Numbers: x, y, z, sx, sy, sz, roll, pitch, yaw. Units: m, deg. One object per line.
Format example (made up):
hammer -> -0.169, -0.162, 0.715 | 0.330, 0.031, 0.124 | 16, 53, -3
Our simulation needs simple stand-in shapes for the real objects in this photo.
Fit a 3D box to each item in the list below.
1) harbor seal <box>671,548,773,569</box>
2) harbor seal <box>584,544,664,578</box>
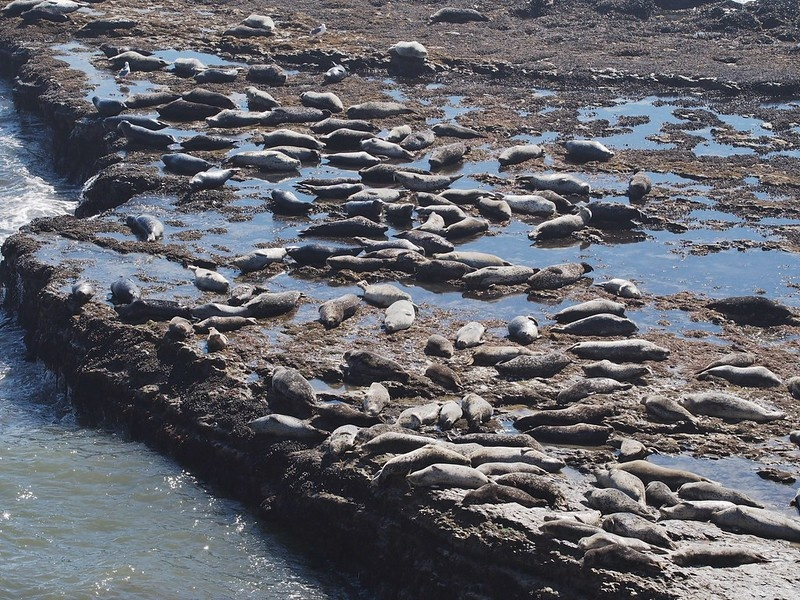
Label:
harbor seal -> 5.292, 4.237, 30.245 | 1.337, 0.200, 0.293 | 2, -14, 0
harbor seal -> 3.698, 4.275, 30.170 | 1.140, 0.244, 0.543 | 1, 2, 1
